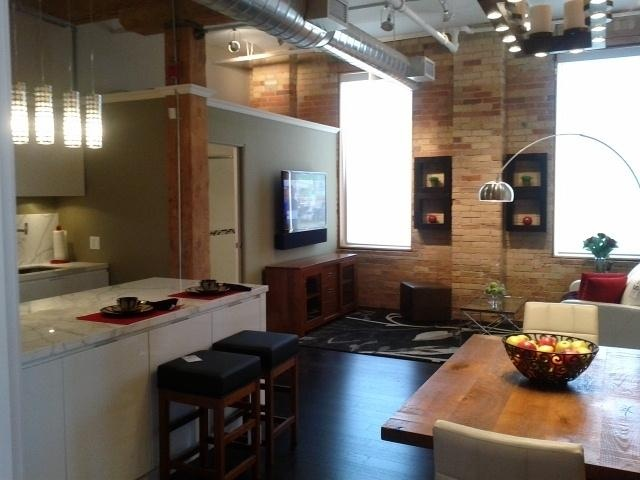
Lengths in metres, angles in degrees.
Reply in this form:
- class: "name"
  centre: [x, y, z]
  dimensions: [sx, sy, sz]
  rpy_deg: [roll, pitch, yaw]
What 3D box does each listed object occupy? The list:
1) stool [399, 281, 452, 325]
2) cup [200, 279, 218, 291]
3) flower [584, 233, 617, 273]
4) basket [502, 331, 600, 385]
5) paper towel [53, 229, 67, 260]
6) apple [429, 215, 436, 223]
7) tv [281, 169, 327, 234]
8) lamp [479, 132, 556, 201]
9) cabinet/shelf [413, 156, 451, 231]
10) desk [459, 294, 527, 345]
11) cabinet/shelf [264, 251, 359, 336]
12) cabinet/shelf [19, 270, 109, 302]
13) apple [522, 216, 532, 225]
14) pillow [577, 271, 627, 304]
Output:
- class: "stool"
  centre: [1.519, 0.909, 7.625]
  dimensions: [0.707, 0.456, 0.605]
  rpy_deg: [0, 1, -13]
- class: "cup"
  centre: [-0.843, 0.338, 3.991]
  dimensions: [0.107, 0.054, 0.099]
  rpy_deg: [1, 5, 0]
- class: "flower"
  centre: [3.582, 0.202, 6.723]
  dimensions: [0.456, 0.403, 0.413]
  rpy_deg: [-3, -9, 20]
- class: "basket"
  centre: [1.167, 0.623, 2.790]
  dimensions: [0.494, 0.170, 0.489]
  rpy_deg: [4, 0, 33]
- class: "paper towel"
  centre: [-2.834, 0.061, 5.684]
  dimensions: [0.149, 0.325, 0.133]
  rpy_deg: [-4, 9, -17]
- class: "apple"
  centre: [1.685, -0.310, 7.852]
  dimensions: [0.130, 0.128, 0.107]
  rpy_deg: [0, 8, 9]
- class: "tv"
  centre: [-0.255, -0.535, 7.331]
  dimensions: [0.088, 0.568, 1.125]
  rpy_deg: [1, 5, 26]
- class: "lamp"
  centre: [1.901, -0.662, 4.719]
  dimensions: [1.061, 0.456, 0.317]
  rpy_deg: [-10, 16, -4]
- class: "cabinet/shelf"
  centre: [1.768, -0.702, 7.926]
  dimensions: [0.655, 0.950, 0.400]
  rpy_deg: [7, 3, 31]
- class: "desk"
  centre: [2.114, 0.971, 6.298]
  dimensions: [0.558, 0.370, 0.946]
  rpy_deg: [-11, -10, 26]
- class: "cabinet/shelf"
  centre: [-0.150, 0.720, 6.919]
  dimensions: [0.420, 0.536, 1.232]
  rpy_deg: [1, 5, 25]
- class: "cabinet/shelf"
  centre: [-2.555, 0.415, 5.266]
  dimensions: [0.094, 0.256, 0.930]
  rpy_deg: [4, 8, 30]
- class: "apple"
  centre: [2.904, -0.267, 7.322]
  dimensions: [0.126, 0.122, 0.166]
  rpy_deg: [2, 8, 19]
- class: "pillow"
  centre: [2.876, 0.495, 5.333]
  dimensions: [0.300, 0.206, 0.122]
  rpy_deg: [-11, 9, 43]
